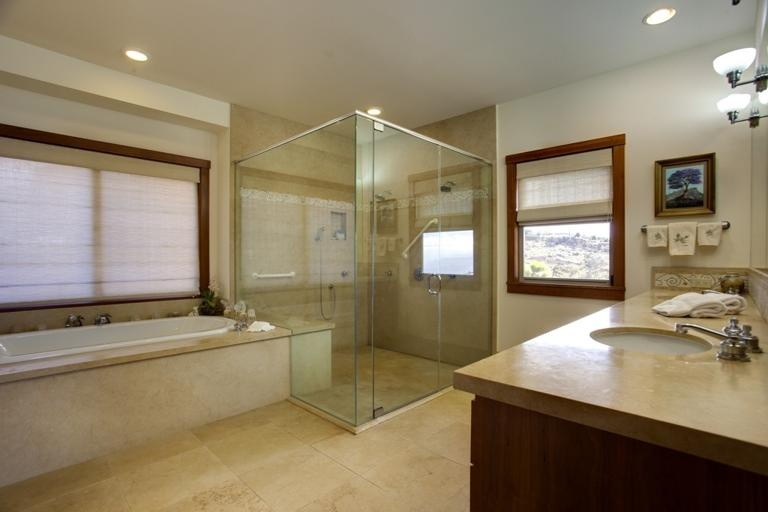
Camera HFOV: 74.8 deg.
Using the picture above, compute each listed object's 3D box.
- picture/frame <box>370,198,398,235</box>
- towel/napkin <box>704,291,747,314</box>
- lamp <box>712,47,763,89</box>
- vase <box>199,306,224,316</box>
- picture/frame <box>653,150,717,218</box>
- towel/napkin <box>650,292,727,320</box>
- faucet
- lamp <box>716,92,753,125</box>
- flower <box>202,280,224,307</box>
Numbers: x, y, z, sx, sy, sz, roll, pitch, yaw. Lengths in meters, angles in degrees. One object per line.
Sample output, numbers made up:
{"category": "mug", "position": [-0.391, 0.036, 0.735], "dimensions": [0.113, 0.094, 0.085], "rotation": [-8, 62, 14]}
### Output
{"category": "picture/frame", "position": [-0.015, -0.363, 4.566], "dimensions": [0.034, 0.383, 0.342], "rotation": [-3, -4, 43]}
{"category": "towel/napkin", "position": [2.365, 0.319, 3.450], "dimensions": [0.170, 0.072, 0.184], "rotation": [-5, 0, 25]}
{"category": "lamp", "position": [2.797, -1.486, 3.975], "dimensions": [0.322, 0.322, 0.935], "rotation": [7, 13, 31]}
{"category": "vase", "position": [-1.890, 0.592, 5.493], "dimensions": [0.153, 0.077, 0.145], "rotation": [2, 0, 14]}
{"category": "picture/frame", "position": [2.773, -0.664, 4.596], "dimensions": [0.632, 0.780, 0.061], "rotation": [-1, -2, 41]}
{"category": "towel/napkin", "position": [2.073, 0.344, 3.440], "dimensions": [0.379, 0.118, 0.304], "rotation": [-4, 12, -23]}
{"category": "faucet", "position": [1.940, 0.478, 2.904], "dimensions": [0.249, 0.099, 0.301], "rotation": [-5, 5, -14]}
{"category": "lamp", "position": [2.967, -1.274, 4.270], "dimensions": [0.244, 0.279, 0.460], "rotation": [7, 13, 33]}
{"category": "flower", "position": [-1.897, 0.433, 5.536], "dimensions": [0.252, 0.296, 0.249], "rotation": [-2, -3, -16]}
